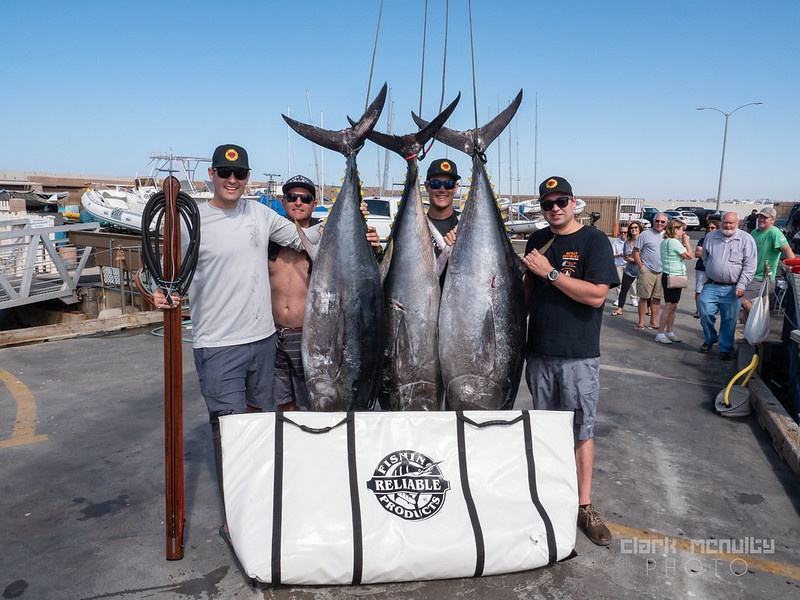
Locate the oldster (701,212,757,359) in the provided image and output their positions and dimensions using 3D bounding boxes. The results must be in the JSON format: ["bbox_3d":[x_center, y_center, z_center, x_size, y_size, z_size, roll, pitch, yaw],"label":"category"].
[{"bbox_3d":[3.761,-0.145,6.169,0.534,1.729,0.655,1,13,4],"label":"oldster"}]

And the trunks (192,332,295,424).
[{"bbox_3d":[-0.944,0.454,3.182,0.480,0.445,0.268,-5,-6,-45],"label":"trunks"}]

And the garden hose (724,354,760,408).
[{"bbox_3d":[3.011,0.679,4.661,0.147,0.646,0.067,26,-9,22],"label":"garden hose"}]

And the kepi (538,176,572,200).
[{"bbox_3d":[0.905,-0.645,3.098,0.174,0.122,0.138,5,14,18],"label":"kepi"}]

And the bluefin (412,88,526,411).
[{"bbox_3d":[0.510,-0.265,3.145,0.493,1.828,0.600,4,13,14],"label":"bluefin"}]

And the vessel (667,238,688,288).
[{"bbox_3d":[3.744,-0.490,7.121,0.183,0.638,0.373,-2,6,11],"label":"vessel"}]

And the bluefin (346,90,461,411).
[{"bbox_3d":[0.026,-0.291,3.199,0.492,1.827,0.509,-1,-5,-3],"label":"bluefin"}]

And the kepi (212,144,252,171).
[{"bbox_3d":[-0.947,-0.790,2.944,0.189,0.128,0.217,-3,14,-16],"label":"kepi"}]

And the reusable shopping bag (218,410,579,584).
[{"bbox_3d":[0.048,0.963,2.848,1.840,1.037,0.473,-2,23,0],"label":"reusable shopping bag"}]

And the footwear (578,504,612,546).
[{"bbox_3d":[1.108,1.292,3.098,0.110,0.104,0.252,-26,29,-11],"label":"footwear"}]

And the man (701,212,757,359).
[{"bbox_3d":[3.757,-0.163,6.172,0.498,1.700,0.581,-6,9,-39],"label":"man"}]

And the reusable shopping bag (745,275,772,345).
[{"bbox_3d":[3.238,0.103,4.787,0.174,0.677,0.345,9,16,35],"label":"reusable shopping bag"}]
